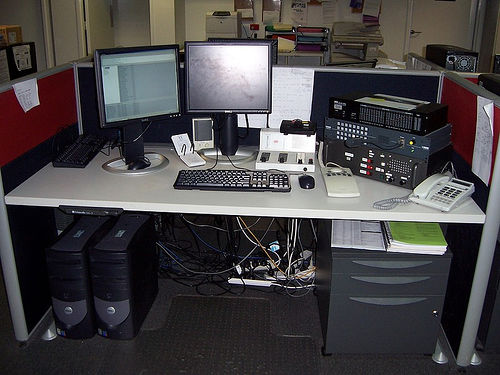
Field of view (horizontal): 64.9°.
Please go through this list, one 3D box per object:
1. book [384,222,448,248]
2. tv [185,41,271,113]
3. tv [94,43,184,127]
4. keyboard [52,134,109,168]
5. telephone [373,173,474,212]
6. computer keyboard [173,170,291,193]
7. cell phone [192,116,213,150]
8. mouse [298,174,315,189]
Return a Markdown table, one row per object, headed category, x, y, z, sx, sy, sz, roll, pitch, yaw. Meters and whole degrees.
| category | x | y | z | sx | sy | sz | roll | pitch | yaw |
| --- | --- | --- | --- | --- | --- | --- | --- | --- | --- |
| book | 0.831 | 0.222 | 1.987 | 0.283 | 0.033 | 0.221 | 4 | 25 | 8 |
| tv | -0.131 | -0.633 | 2.180 | 0.366 | 0.315 | 0.035 | 1 | 13 | -2 |
| tv | -0.602 | -0.556 | 2.139 | 0.467 | 0.423 | 0.045 | -13 | 23 | -27 |
| keyboard | -0.979 | -0.225 | 2.308 | 0.179 | 0.093 | 0.375 | 2 | 24 | 3 |
| telephone | 0.833 | 0.026 | 1.860 | 0.469 | 0.110 | 0.291 | -7 | 14 | 0 |
| computer keyboard | -0.087 | -0.037 | 2.033 | 0.595 | 0.066 | 0.240 | 2 | 23 | -6 |
| cell phone | -0.274 | -0.310 | 2.346 | 0.125 | 0.195 | 0.097 | -2 | -9 | -4 |
| mouse | 0.290 | -0.032 | 1.988 | 0.081 | 0.054 | 0.088 | 4 | 24 | 9 |
